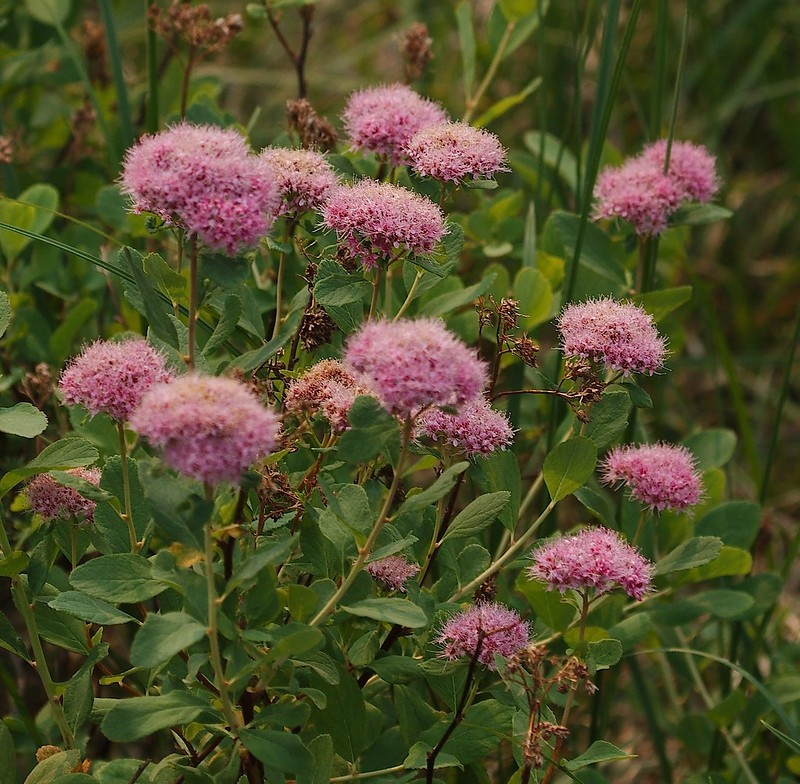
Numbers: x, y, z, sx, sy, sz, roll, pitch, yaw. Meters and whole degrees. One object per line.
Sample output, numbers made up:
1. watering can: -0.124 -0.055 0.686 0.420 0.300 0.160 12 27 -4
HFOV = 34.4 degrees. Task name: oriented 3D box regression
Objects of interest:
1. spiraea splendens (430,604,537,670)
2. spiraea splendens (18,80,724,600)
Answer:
1. spiraea splendens: 0.178 0.498 2.742 0.150 0.123 0.146 -7 28 -6
2. spiraea splendens: -0.113 0.065 2.896 1.224 0.962 1.361 9 36 -9
